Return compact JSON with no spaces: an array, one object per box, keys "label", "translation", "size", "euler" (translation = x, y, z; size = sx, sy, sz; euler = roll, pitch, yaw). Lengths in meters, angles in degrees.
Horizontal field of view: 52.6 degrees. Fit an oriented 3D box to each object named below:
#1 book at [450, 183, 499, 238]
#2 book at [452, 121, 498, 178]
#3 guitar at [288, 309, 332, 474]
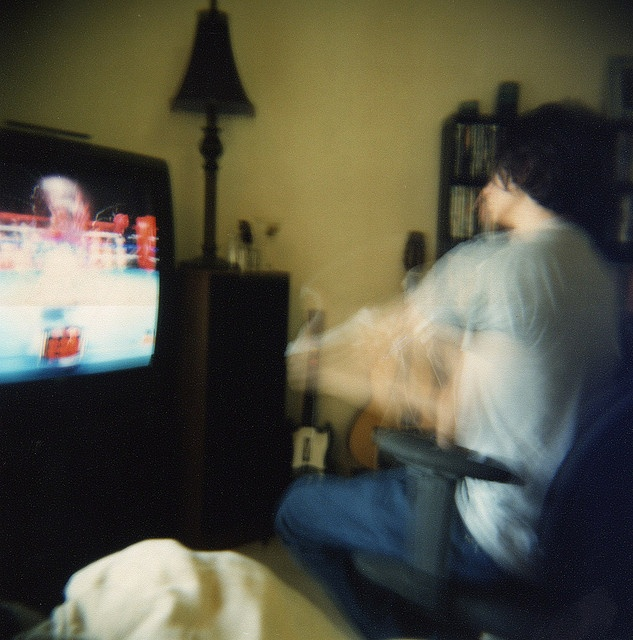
[{"label":"book","translation":[0.361,-0.257,1.508],"size":[0.095,0.134,0.114],"euler":[1,4,0]},{"label":"book","translation":[0.373,-0.400,1.500],"size":[0.106,0.166,0.083],"euler":[2,-2,0]},{"label":"guitar","translation":[-0.008,0.240,1.586],"size":[0.119,0.358,0.039],"euler":[13,24,17]}]
